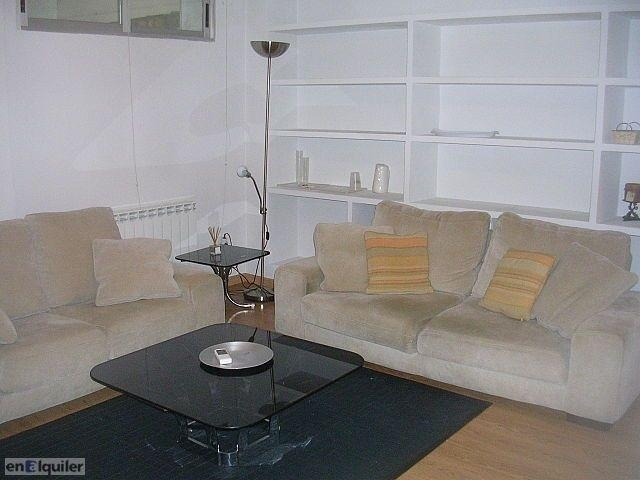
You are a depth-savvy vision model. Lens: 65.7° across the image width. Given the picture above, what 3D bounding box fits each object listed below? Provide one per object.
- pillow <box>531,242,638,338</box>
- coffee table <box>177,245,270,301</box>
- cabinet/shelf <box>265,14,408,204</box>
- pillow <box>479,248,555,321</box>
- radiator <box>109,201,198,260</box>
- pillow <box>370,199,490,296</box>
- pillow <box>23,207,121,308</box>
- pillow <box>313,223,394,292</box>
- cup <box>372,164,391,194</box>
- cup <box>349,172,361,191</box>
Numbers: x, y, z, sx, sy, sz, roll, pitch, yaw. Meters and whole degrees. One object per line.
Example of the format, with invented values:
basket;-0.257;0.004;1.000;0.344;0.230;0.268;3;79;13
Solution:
pillow;1.554;0.304;3.025;0.383;0.485;0.514;-4;13;-18
coffee table;-0.857;0.260;4.435;0.603;0.428;0.633;6;10;35
cabinet/shelf;0.179;-1.366;4.980;1.990;1.777;0.540;6;11;32
pillow;1.290;0.273;3.235;0.392;0.462;0.126;19;-7;46
radiator;-1.491;-0.126;4.571;0.595;0.388;0.058;-7;22;-22
pillow;0.806;0.079;3.691;0.685;0.656;0.207;0;-9;23
pillow;-1.750;0.119;3.501;0.640;0.618;0.291;-12;7;-44
pillow;0.246;0.146;3.694;0.478;0.435;0.180;-1;-18;15
cup;0.591;-0.609;4.844;0.151;0.277;0.254;3;13;9
cup;0.346;-0.593;4.960;0.108;0.173;0.186;1;13;2
